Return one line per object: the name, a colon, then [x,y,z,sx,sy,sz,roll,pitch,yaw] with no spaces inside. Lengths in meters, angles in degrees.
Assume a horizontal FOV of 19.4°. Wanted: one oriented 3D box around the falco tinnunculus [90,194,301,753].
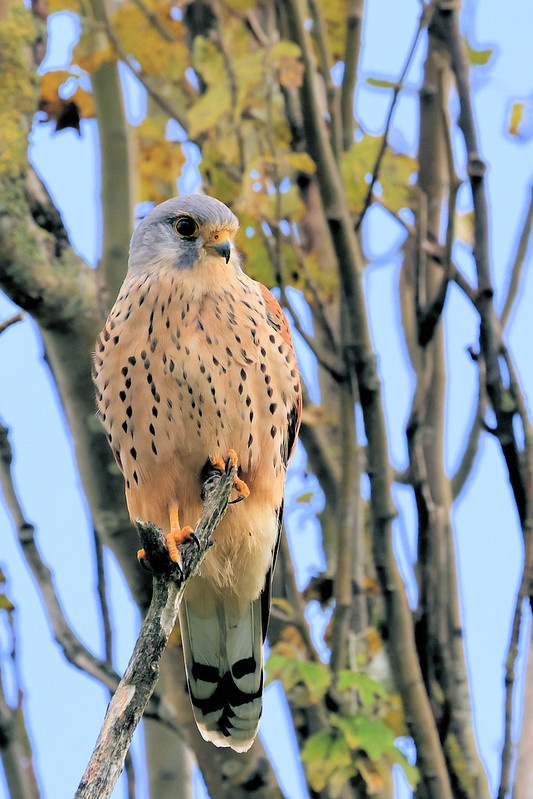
falco tinnunculus: [-0.186,0.074,5.182,0.544,0.828,2.126,-1,-66,-2]
